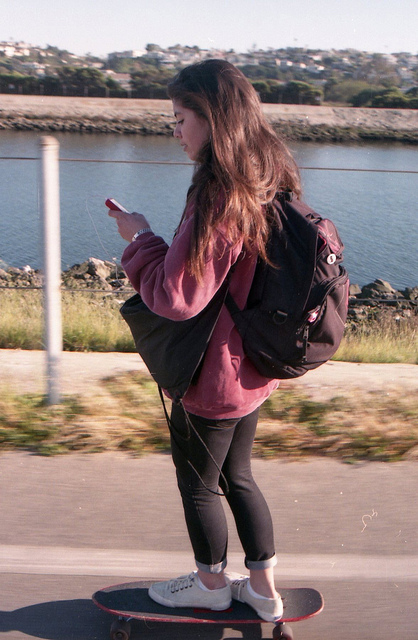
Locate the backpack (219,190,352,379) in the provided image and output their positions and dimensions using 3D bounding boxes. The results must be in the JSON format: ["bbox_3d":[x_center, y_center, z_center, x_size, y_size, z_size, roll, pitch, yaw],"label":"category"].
[{"bbox_3d":[0.183,-0.075,1.959,0.362,0.438,0.335,8,4,22],"label":"backpack"}]

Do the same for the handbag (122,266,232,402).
[{"bbox_3d":[-0.095,-0.018,1.938,0.253,0.326,0.350,11,43,-9],"label":"handbag"}]

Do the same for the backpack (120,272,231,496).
[{"bbox_3d":[-0.081,0.126,1.896,0.129,0.474,0.322,-4,22,44],"label":"backpack"}]
